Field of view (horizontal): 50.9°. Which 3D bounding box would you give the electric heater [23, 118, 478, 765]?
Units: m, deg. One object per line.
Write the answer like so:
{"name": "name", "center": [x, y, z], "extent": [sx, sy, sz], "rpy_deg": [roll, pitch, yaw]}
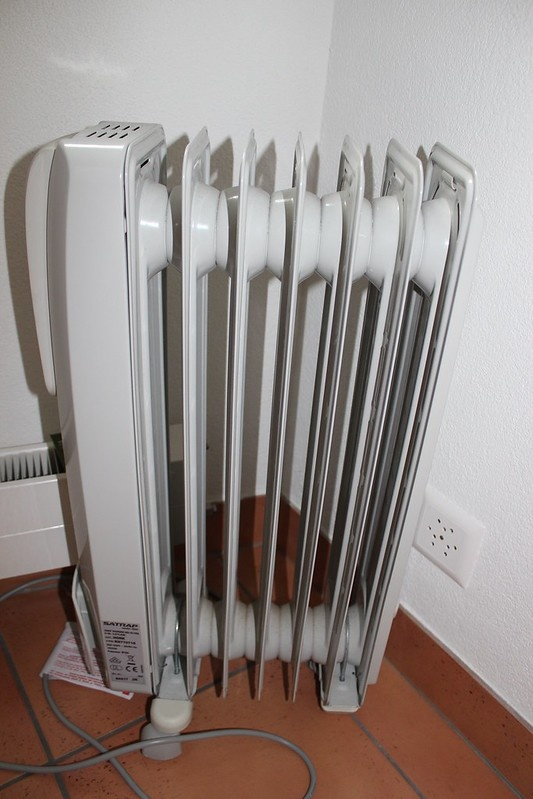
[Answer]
{"name": "electric heater", "center": [-0.037, 0.102, 0.673], "extent": [0.409, 0.800, 0.267], "rpy_deg": [2, 21, -4]}
